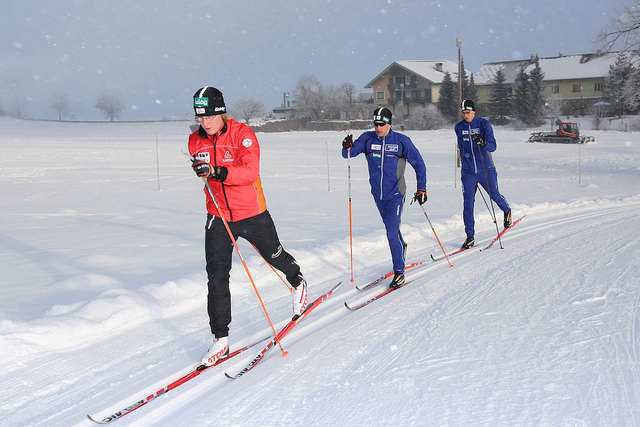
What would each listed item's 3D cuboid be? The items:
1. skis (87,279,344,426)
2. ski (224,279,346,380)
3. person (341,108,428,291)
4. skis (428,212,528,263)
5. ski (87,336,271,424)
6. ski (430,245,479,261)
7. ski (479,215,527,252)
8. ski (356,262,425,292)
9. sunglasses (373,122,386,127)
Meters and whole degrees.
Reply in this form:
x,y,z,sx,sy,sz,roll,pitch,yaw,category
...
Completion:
x,y,z,sx,sy,sz,roll,pitch,yaw,category
-1.044,1.418,4.882,0.289,0.136,2.652,-14,10,46,skis
-0.372,1.271,5.243,0.186,0.184,1.823,-3,22,37,ski
0.864,-0.225,6.534,1.033,2.290,0.715,1,14,11,person
2.639,0.432,8.292,1.699,0.161,0.185,-24,11,-36,skis
-1.292,1.570,4.556,1.472,0.111,0.157,-22,13,-37,ski
2.088,0.623,7.647,0.088,0.074,0.655,23,28,38,ski
3.163,0.364,8.533,0.868,0.061,0.103,-40,23,-32,ski
0.953,0.875,6.667,0.136,0.189,1.323,5,13,36,ski
0.770,-1.147,6.375,0.141,0.060,0.065,2,15,15,sunglasses
